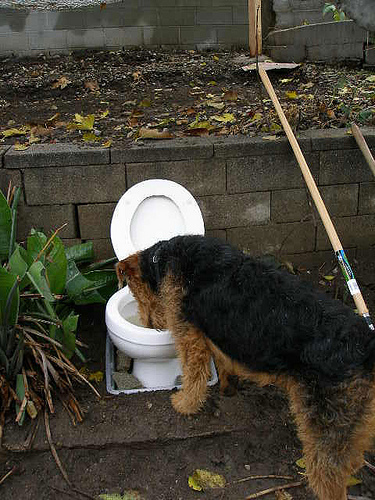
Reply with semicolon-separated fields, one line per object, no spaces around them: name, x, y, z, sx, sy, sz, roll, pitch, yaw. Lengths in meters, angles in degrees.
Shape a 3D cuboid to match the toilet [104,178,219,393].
toilet;-0.165;0.200;2.856;0.673;1.175;0.786;-6;24;6
